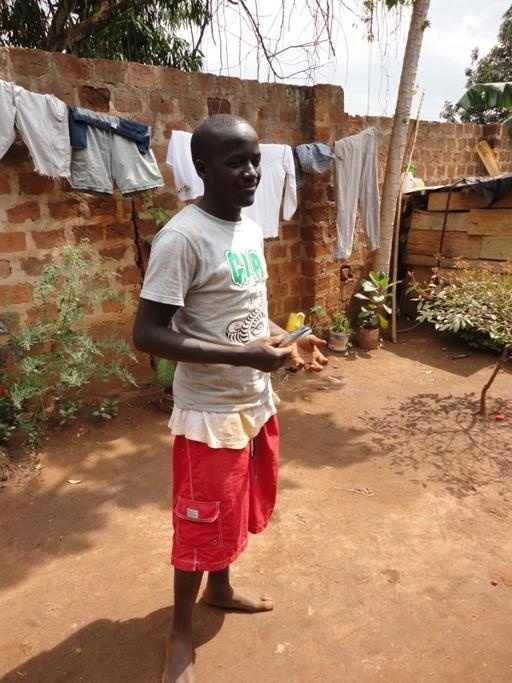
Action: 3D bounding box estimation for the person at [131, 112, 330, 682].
[{"bbox_3d":[-0.091,0.249,1.833,0.511,1.974,0.540,2,16,6],"label":"person"}]

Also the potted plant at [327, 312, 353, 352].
[{"bbox_3d":[0.967,-0.110,6.231,0.263,0.400,0.516,3,15,9],"label":"potted plant"}]

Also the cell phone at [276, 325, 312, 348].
[{"bbox_3d":[0.130,-0.023,1.778,0.043,0.047,0.177,-29,4,30],"label":"cell phone"}]

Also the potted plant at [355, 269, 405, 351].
[{"bbox_3d":[1.450,-0.439,6.554,0.499,0.898,1.016,3,15,12],"label":"potted plant"}]
